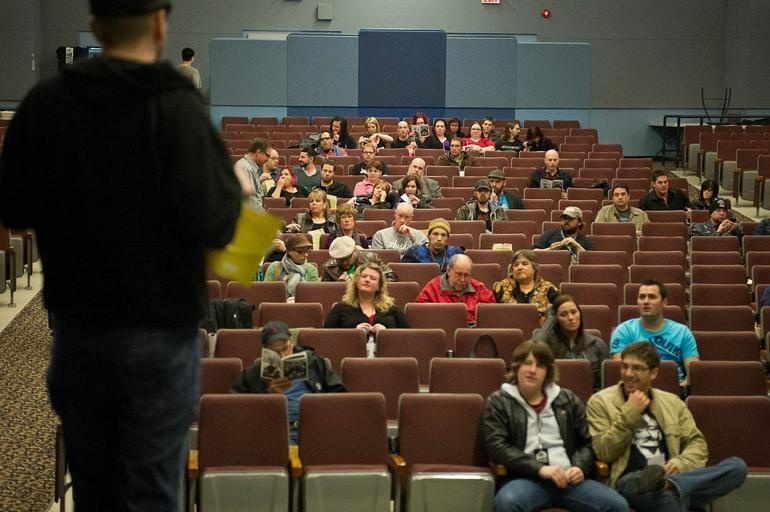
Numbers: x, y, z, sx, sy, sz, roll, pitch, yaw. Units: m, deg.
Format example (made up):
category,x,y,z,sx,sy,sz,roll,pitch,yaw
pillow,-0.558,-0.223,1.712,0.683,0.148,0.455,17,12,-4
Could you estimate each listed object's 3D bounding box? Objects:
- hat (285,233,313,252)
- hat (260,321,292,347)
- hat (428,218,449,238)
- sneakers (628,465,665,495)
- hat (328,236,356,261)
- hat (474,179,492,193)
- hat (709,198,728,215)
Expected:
category,x,y,z,sx,sy,sz,roll,pitch,yaw
hat,-0.973,-0.146,8.120,0.236,0.114,0.183,-2,2,13
hat,-0.865,0.625,5.804,0.204,0.193,0.192,-5,11,-24
hat,0.635,-0.345,8.712,0.184,0.176,0.210,3,-15,-4
sneakers,1.759,1.500,4.948,0.246,0.159,0.110,-27,-1,13
hat,-0.475,-0.082,8.075,0.267,0.259,0.193,0,10,3
hat,1.386,-0.991,10.358,0.150,0.123,0.223,1,-13,1
hat,4.801,-0.726,10.471,0.204,0.283,0.285,0,-13,4
